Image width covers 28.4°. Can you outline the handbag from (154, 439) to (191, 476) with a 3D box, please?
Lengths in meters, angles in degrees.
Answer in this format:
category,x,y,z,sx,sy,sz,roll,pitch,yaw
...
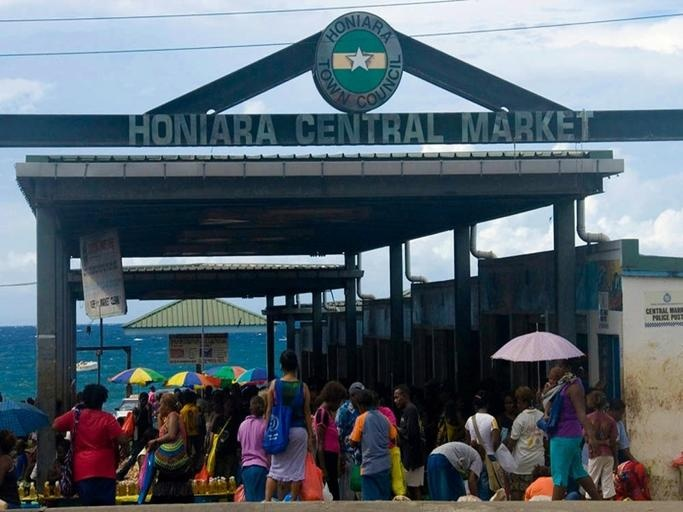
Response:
category,x,y,z,sx,sy,sz,roll,pitch,yaw
handbag,-3.267,3.561,25.430,0.661,0.885,0.491,11,35,14

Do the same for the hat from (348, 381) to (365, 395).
category,x,y,z,sx,sy,sz,roll,pitch,yaw
hat,0.272,2.590,26.542,0.227,0.323,0.303,0,10,2

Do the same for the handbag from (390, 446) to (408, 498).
category,x,y,z,sx,sy,sz,roll,pitch,yaw
handbag,1.083,3.985,25.360,0.226,0.923,0.354,-7,-7,39

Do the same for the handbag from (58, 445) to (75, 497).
category,x,y,z,sx,sy,sz,roll,pitch,yaw
handbag,-5.066,3.895,24.690,0.328,0.967,0.350,0,-5,21

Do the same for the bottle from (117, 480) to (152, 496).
category,x,y,z,sx,sy,sz,roll,pitch,yaw
bottle,-4.367,4.642,27.358,0.415,0.362,0.439,1,-4,-6
